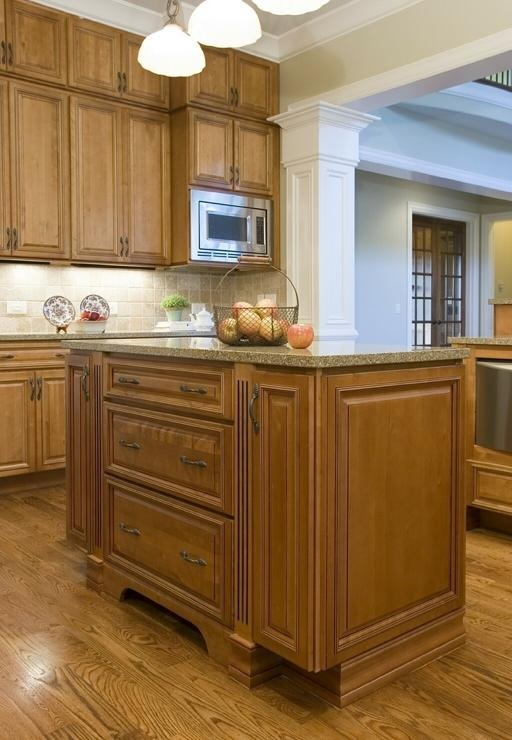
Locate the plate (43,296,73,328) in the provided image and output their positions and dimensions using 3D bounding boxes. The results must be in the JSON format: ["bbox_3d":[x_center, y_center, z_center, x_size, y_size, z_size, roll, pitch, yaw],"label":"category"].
[{"bbox_3d":[-1.414,-0.419,4.135,0.211,0.226,0.045,5,0,-41],"label":"plate"}]

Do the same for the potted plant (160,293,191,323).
[{"bbox_3d":[-0.624,-0.476,4.482,0.229,0.250,0.238,-1,-1,25],"label":"potted plant"}]

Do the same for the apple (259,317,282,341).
[{"bbox_3d":[0.042,-0.119,1.646,0.062,0.078,0.065,-8,-8,18],"label":"apple"}]

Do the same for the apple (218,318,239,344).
[{"bbox_3d":[-0.082,-0.112,1.690,0.033,0.072,0.066,0,-25,-28],"label":"apple"}]

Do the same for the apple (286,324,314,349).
[{"bbox_3d":[0.115,-0.086,1.541,0.062,0.065,0.062,-1,-2,37],"label":"apple"}]

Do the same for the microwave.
[{"bbox_3d":[-0.199,-1.076,4.533,0.671,0.507,0.399,0,3,-20],"label":"microwave"}]

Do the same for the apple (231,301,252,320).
[{"bbox_3d":[-0.043,-0.173,1.689,0.048,0.044,0.054,0,-1,2],"label":"apple"}]

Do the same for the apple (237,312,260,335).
[{"bbox_3d":[-0.021,-0.135,1.663,0.059,0.076,0.061,-1,2,-3],"label":"apple"}]

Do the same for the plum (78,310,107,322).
[{"bbox_3d":[-1.133,-0.393,4.065,0.096,0.072,0.160,-14,-14,31],"label":"plum"}]

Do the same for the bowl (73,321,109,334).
[{"bbox_3d":[-1.157,-0.295,4.004,0.173,0.067,0.181,0,2,0],"label":"bowl"}]

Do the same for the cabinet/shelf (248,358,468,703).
[{"bbox_3d":[0.232,0.306,1.605,0.434,0.801,0.590,-7,10,-16],"label":"cabinet/shelf"}]

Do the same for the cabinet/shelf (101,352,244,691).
[{"bbox_3d":[-0.161,0.338,1.877,0.731,0.890,0.444,7,9,44],"label":"cabinet/shelf"}]

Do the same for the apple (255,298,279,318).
[{"bbox_3d":[0.030,-0.175,1.694,0.057,0.074,0.060,-4,1,1],"label":"apple"}]

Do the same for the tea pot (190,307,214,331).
[{"bbox_3d":[-0.409,-0.367,4.360,0.162,0.135,0.189,-1,0,-3],"label":"tea pot"}]
